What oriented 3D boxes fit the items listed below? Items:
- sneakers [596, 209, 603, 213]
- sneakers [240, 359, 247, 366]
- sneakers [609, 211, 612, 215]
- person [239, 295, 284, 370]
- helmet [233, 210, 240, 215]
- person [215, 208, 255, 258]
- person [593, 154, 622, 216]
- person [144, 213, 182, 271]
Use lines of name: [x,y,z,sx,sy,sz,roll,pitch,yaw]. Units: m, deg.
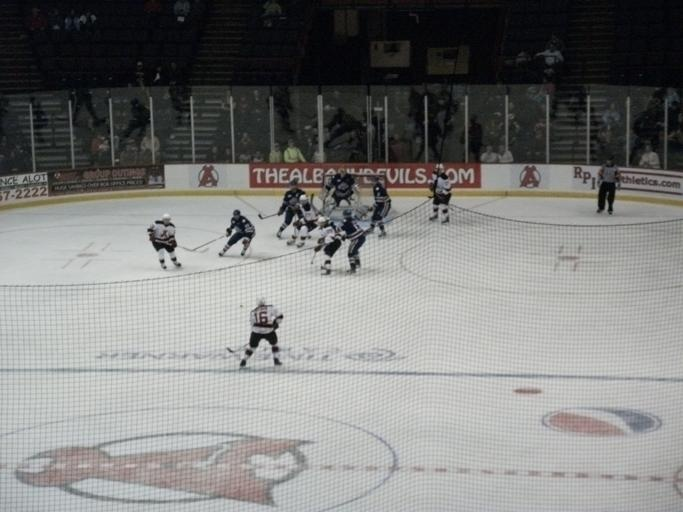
sneakers: [7.981,-1.419,27.053,0.131,0.156,0.384,3,0,11]
sneakers: [-1.836,1.990,16.129,0.122,0.208,0.146,3,0,-10]
sneakers: [8.273,-1.332,26.828,0.130,0.118,0.071,-1,1,-3]
person: [-1.523,1.415,16.257,0.792,1.317,0.753,-2,6,-8]
helmet: [-2.724,-1.125,22.451,0.174,0.076,0.235,-1,2,-7]
person: [-2.818,-0.624,23.104,0.864,1.250,1.575,-3,6,-10]
person: [8.133,-2.148,26.725,0.649,1.757,1.354,0,6,15]
person: [-4.549,-0.401,22.376,0.761,1.396,2.221,-3,6,-11]
